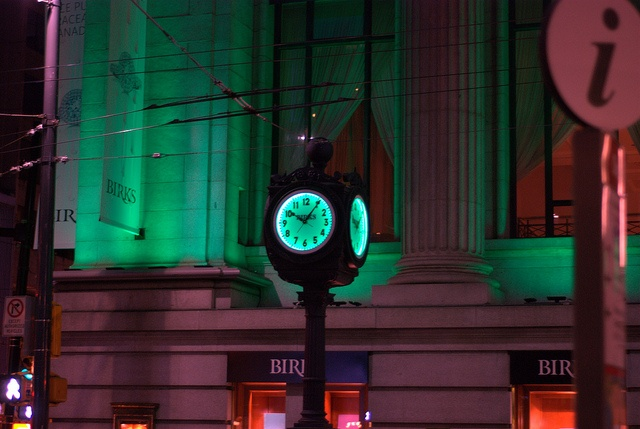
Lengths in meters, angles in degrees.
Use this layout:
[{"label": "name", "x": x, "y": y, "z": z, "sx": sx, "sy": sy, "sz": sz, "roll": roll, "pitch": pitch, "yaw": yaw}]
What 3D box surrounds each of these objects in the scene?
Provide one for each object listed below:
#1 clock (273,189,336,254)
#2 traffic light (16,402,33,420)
[{"label": "clock", "x": -0.319, "y": 0.166, "z": 34.687, "sx": 1.603, "sy": 1.473, "sz": 0.101, "roll": 0, "pitch": -13, "yaw": 13}, {"label": "traffic light", "x": -7.111, "y": 4.765, "z": 37.124, "sx": 0.402, "sy": 0.408, "sz": 0.187, "roll": 0, "pitch": -19, "yaw": 2}]
